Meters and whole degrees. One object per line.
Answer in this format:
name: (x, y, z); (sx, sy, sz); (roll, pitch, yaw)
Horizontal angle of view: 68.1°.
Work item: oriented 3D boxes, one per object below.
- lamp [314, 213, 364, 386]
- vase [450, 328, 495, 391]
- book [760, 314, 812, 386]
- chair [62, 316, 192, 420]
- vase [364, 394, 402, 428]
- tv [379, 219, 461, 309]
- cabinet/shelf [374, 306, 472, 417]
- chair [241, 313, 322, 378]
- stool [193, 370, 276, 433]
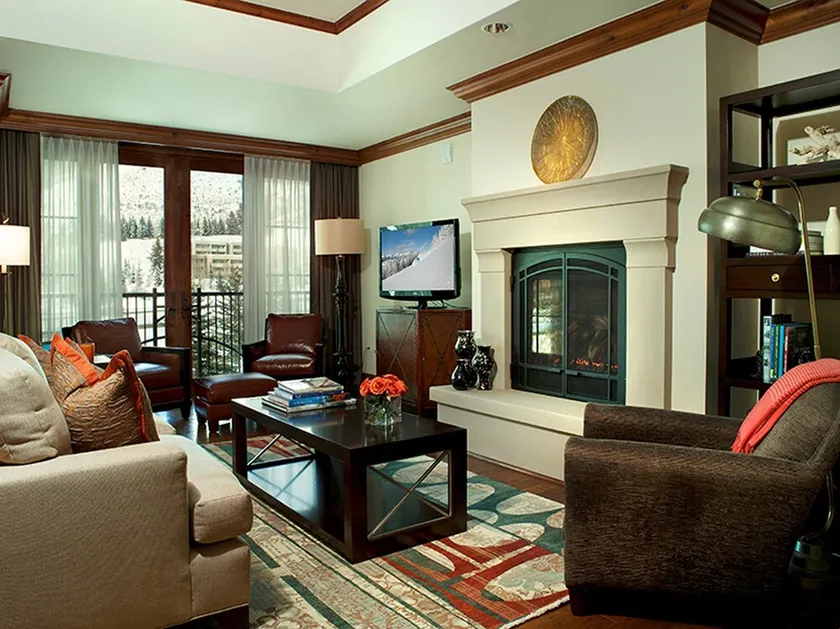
lamp: (-0.911, -0.120, 7.201); (0.554, 1.941, 0.848); (-2, 14, -10)
vase: (0.436, 0.373, 4.977); (0.495, 0.571, 0.287); (2, -5, -20)
book: (1.990, 0.205, 3.395); (0.412, 0.387, 0.246); (0, 0, -40)
chair: (-2.692, 0.511, 5.645); (0.985, 0.820, 1.043); (-2, 5, -34)
vase: (-0.193, 0.527, 3.502); (0.171, 0.172, 0.182); (4, 4, 40)
tv: (-0.080, -0.507, 6.176); (1.074, 0.751, 0.253); (-9, 13, -42)
cabinet/shelf: (0.022, 0.447, 6.285); (0.584, 0.954, 0.985); (-4, 3, -29)
chair: (-1.361, 0.466, 6.477); (0.743, 0.963, 0.762); (0, -1, -1)
stool: (-1.661, 0.682, 5.423); (0.582, 0.390, 0.549); (-2, 1, -39)
